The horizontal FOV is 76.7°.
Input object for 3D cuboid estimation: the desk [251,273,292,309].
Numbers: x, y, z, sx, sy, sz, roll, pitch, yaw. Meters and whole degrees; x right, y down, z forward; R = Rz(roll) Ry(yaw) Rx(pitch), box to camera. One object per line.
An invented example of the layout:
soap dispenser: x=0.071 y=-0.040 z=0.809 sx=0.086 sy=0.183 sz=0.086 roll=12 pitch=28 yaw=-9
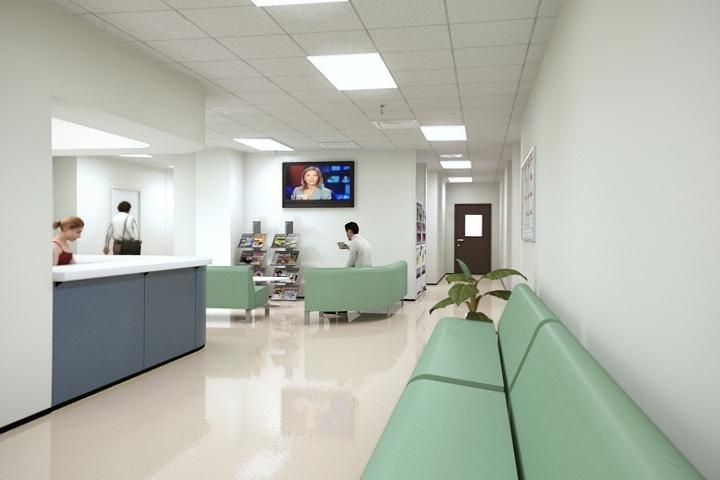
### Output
desk: x=-1.891 y=1.081 z=9.447 sx=0.706 sy=0.472 sz=0.719 roll=2 pitch=1 yaw=29

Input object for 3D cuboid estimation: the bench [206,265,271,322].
bench: x=-2.164 y=0.817 z=7.924 sx=0.987 sy=0.753 sz=0.496 roll=-1 pitch=4 yaw=-20

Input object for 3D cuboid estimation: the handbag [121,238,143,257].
handbag: x=-4.515 y=0.142 z=8.924 sx=0.373 sy=0.287 sz=0.310 roll=-3 pitch=5 yaw=-40
